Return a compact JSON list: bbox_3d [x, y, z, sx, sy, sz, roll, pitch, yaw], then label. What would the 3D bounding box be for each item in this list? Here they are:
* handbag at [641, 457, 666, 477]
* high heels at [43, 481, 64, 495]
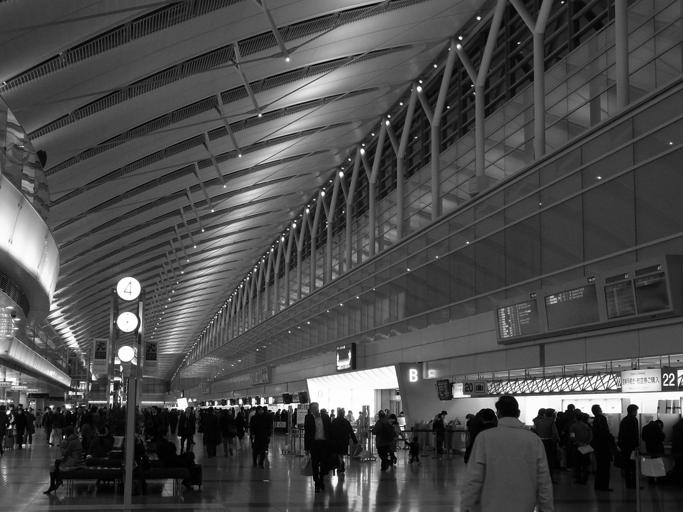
[{"bbox_3d":[5.401,3.676,12.583,0.347,0.282,0.198,4,-4,-25],"label":"handbag"},{"bbox_3d":[-6.380,5.104,15.876,0.492,0.230,0.167,-2,-4,33],"label":"high heels"}]
